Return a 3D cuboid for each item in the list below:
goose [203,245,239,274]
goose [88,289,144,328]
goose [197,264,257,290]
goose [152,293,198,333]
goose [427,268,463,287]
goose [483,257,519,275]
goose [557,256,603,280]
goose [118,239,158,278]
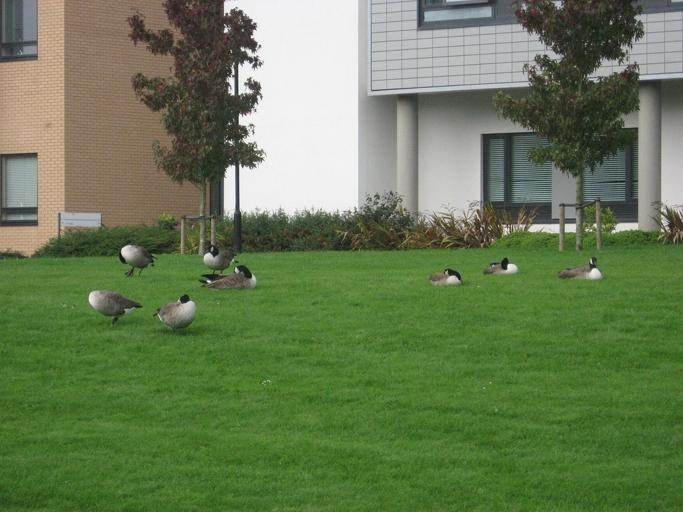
[{"bbox_3d":[-2.834,0.047,40.232,0.458,0.690,0.865,-1,20,13],"label":"goose"},{"bbox_3d":[-4.676,1.049,35.713,1.087,0.726,0.556,-5,3,5],"label":"goose"},{"bbox_3d":[-2.509,0.561,38.892,1.002,0.570,0.595,2,-2,-1],"label":"goose"},{"bbox_3d":[-3.398,1.201,35.370,0.874,0.899,0.672,9,10,22],"label":"goose"},{"bbox_3d":[2.402,0.523,38.986,0.538,0.392,0.395,-2,-1,23],"label":"goose"},{"bbox_3d":[3.704,0.330,40.086,0.493,0.239,0.511,-3,1,23],"label":"goose"},{"bbox_3d":[5.430,0.331,39.115,0.874,0.640,0.500,2,3,-3],"label":"goose"},{"bbox_3d":[-4.685,0.075,39.881,0.562,0.873,1.119,18,18,35],"label":"goose"}]
